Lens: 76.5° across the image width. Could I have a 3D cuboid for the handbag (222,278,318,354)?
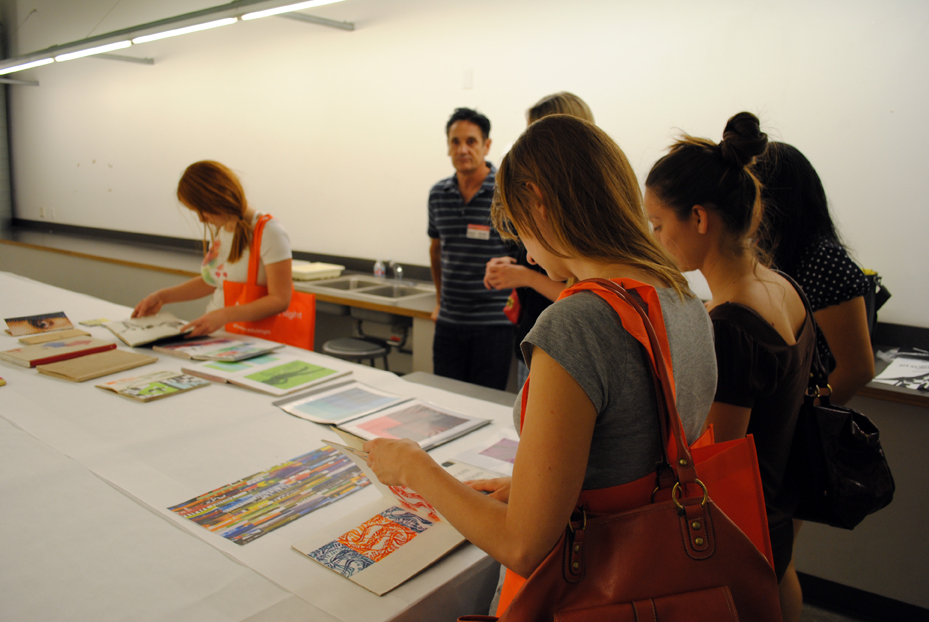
[{"bbox_3d":[-0.994,0.032,2.958,0.377,0.349,0.145,4,7,16],"label":"handbag"}]
